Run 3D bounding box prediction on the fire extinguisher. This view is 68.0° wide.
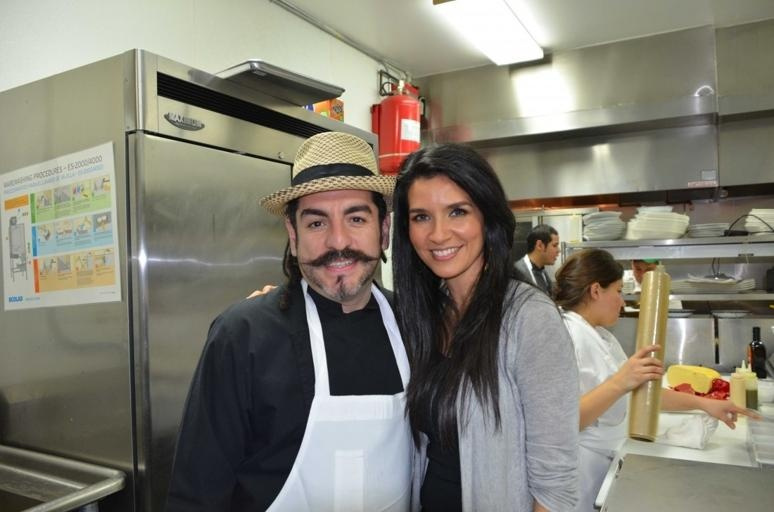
[{"bbox_3d":[0.087,-1.033,5.036,0.407,0.894,0.372,3,-5,0],"label":"fire extinguisher"}]

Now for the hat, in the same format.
[{"bbox_3d":[-0.222,-0.390,2.393,0.411,0.161,0.371,-13,-15,28],"label":"hat"}]

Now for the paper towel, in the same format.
[{"bbox_3d":[1.125,0.442,2.609,0.180,0.806,0.218,2,11,18],"label":"paper towel"}]
